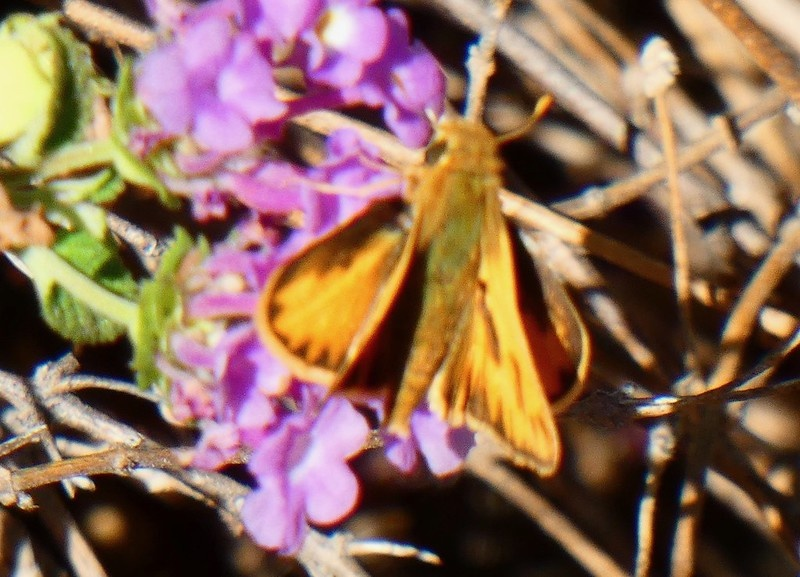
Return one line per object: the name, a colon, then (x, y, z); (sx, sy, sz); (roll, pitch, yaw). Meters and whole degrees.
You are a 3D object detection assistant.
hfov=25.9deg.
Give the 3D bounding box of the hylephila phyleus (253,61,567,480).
hylephila phyleus: (0.011, -0.028, 1.487); (0.277, 0.443, 0.131); (-10, 27, -4)
